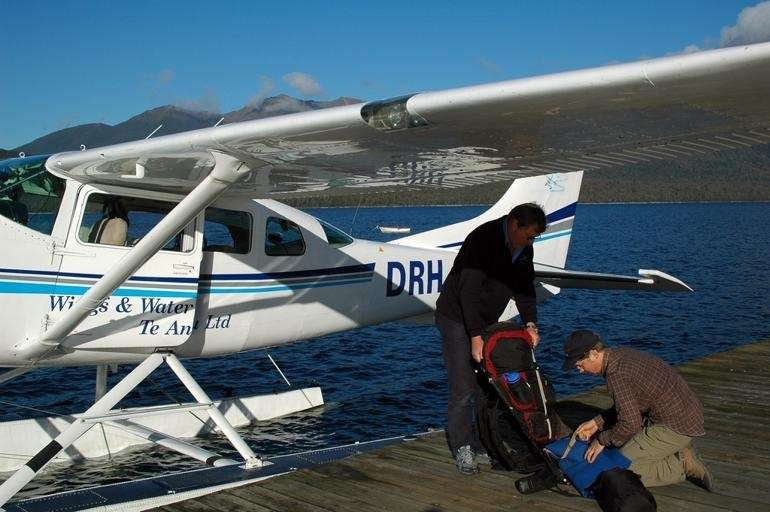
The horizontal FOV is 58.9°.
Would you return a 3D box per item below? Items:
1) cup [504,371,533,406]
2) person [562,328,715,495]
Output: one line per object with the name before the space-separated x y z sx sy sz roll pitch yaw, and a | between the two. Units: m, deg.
cup | 1.168 1.138 5.889 0.222 0.296 0.137 -12 18 -5
person | 2.174 1.321 5.842 1.056 1.449 0.479 -7 20 10
